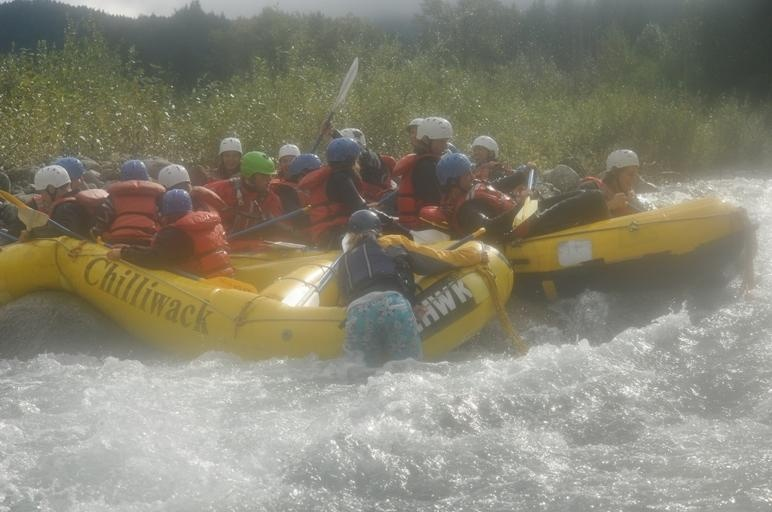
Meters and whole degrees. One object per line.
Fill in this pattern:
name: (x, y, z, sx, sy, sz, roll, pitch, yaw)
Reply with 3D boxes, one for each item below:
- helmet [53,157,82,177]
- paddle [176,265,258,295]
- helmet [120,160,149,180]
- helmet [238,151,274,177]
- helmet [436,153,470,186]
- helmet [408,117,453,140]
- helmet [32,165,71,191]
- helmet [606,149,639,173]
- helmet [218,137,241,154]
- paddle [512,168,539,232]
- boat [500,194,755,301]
helmet: (-4.677, -1.365, 12.913, 0.278, 0.321, 0.361, 22, 24, 11)
paddle: (-2.126, 0.308, 11.132, 0.716, 0.136, 0.421, 17, 6, 0)
helmet: (-3.515, -1.157, 11.993, 0.319, 0.371, 0.402, 0, 20, -6)
helmet: (-1.882, -1.323, 12.707, 0.462, 0.245, 0.324, 4, 35, 7)
helmet: (0.938, -1.192, 12.026, 0.476, 0.427, 0.297, -2, 12, 5)
helmet: (0.667, -1.882, 12.667, 0.594, 0.281, 0.380, 4, 28, 3)
helmet: (-4.802, -1.115, 12.484, 0.463, 0.340, 0.328, 5, 3, -4)
helmet: (3.363, -1.368, 12.316, 0.454, 0.212, 0.340, -6, 8, 25)
helmet: (-2.489, -1.758, 13.965, 0.317, 0.224, 0.395, -3, 10, -5)
paddle: (2.018, -0.835, 12.367, 0.370, 0.128, 1.074, -16, 21, 20)
boat: (3.262, -0.173, 11.948, 2.867, 1.001, 1.462, -21, 2, 13)
